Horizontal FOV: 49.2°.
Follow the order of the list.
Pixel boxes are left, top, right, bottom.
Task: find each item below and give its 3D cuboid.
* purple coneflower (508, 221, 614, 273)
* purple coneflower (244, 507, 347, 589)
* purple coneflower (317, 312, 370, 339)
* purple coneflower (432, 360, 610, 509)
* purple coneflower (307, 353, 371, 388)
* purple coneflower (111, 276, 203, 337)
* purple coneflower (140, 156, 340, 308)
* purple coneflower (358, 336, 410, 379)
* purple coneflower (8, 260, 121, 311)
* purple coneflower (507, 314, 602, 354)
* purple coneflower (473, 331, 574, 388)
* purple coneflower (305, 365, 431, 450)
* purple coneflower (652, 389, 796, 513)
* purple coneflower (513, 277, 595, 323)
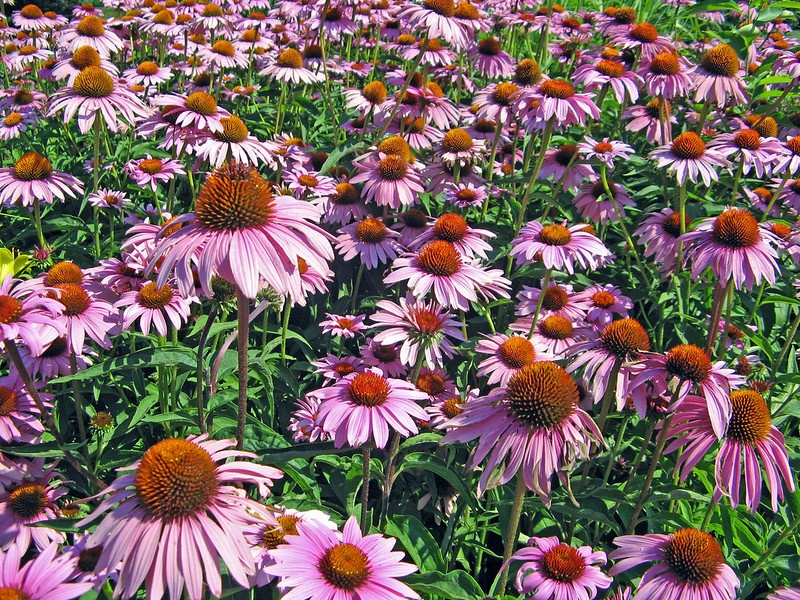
[{"bbox_3d":[1.272,-0.437,6.906,0.538,0.194,0.576,7,31,-3],"label":"purple coneflower"},{"bbox_3d":[-0.677,1.544,5.382,0.435,0.130,0.477,2,19,-6],"label":"purple coneflower"},{"bbox_3d":[-0.465,0.198,7.081,0.260,0.126,0.280,9,13,25],"label":"purple coneflower"},{"bbox_3d":[0.817,0.763,5.581,0.802,0.653,0.862,23,31,9],"label":"purple coneflower"},{"bbox_3d":[-0.463,0.505,6.717,0.284,0.085,0.277,-8,21,-41],"label":"purple coneflower"},{"bbox_3d":[-1.773,0.099,6.264,0.428,0.141,0.442,31,46,12],"label":"purple coneflower"},{"bbox_3d":[-0.936,-0.392,5.250,0.834,0.586,0.936,6,31,-11],"label":"purple coneflower"},{"bbox_3d":[-0.123,0.457,6.813,0.283,0.068,0.305,25,33,-12],"label":"purple coneflower"},{"bbox_3d":[-2.307,-0.136,6.179,0.372,0.142,0.383,29,16,27],"label":"purple coneflower"},{"bbox_3d":[1.186,0.246,6.862,0.383,0.102,0.416,21,32,15],"label":"purple coneflower"},{"bbox_3d":[0.797,0.405,6.356,0.400,0.149,0.415,-15,37,-32],"label":"purple coneflower"},{"bbox_3d":[-0.178,0.707,5.668,0.531,0.205,0.554,-17,42,-29],"label":"purple coneflower"},{"bbox_3d":[2.237,1.101,5.817,0.752,0.561,0.806,-6,38,-31],"label":"purple coneflower"},{"bbox_3d":[1.240,0.006,7.191,0.362,0.104,0.379,-16,38,-29],"label":"purple coneflower"}]
